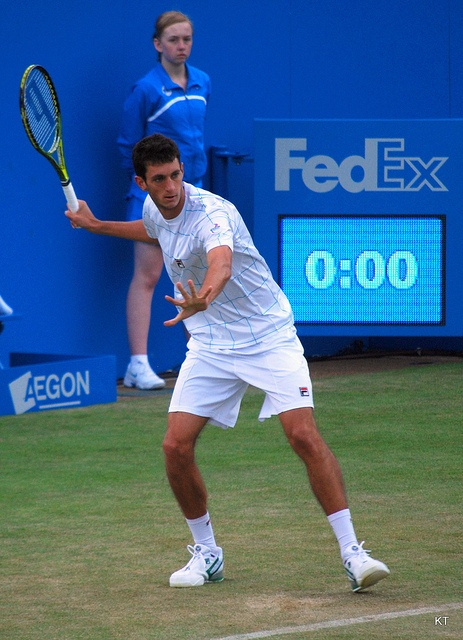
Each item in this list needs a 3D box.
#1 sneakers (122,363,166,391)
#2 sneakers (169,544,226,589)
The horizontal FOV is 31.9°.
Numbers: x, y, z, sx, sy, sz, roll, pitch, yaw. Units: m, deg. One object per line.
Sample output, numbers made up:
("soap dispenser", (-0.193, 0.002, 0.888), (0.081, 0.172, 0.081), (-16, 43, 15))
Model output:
("sneakers", (-0.697, 0.437, 6.322), (0.150, 0.182, 0.385), (-3, 5, -44))
("sneakers", (-0.104, 0.746, 2.453), (0.133, 0.109, 0.163), (-5, 7, 17))
